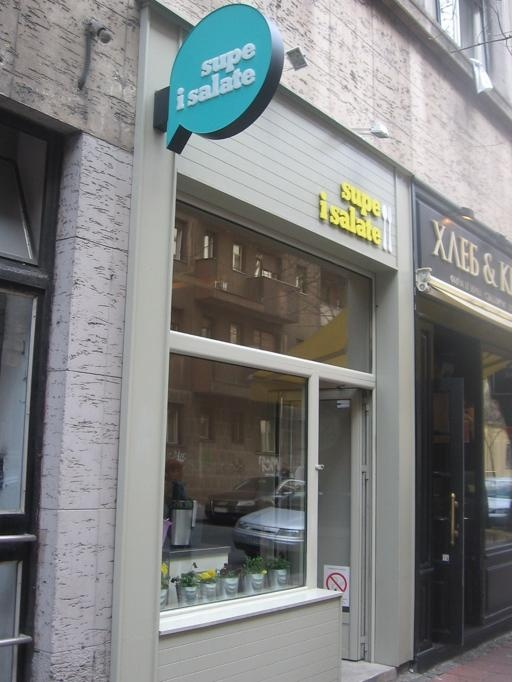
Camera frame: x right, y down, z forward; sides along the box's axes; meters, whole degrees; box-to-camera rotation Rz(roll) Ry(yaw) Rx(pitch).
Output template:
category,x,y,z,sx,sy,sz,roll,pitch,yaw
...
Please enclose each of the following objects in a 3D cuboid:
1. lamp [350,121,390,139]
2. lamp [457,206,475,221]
category,x,y,z,sx,sy,sz,roll,pitch,yaw
lamp,0.956,-1.746,5.473,0.331,0.114,0.196,0,-1,45
lamp,2.158,-1.301,6.713,0.144,0.110,0.140,31,-26,-25
